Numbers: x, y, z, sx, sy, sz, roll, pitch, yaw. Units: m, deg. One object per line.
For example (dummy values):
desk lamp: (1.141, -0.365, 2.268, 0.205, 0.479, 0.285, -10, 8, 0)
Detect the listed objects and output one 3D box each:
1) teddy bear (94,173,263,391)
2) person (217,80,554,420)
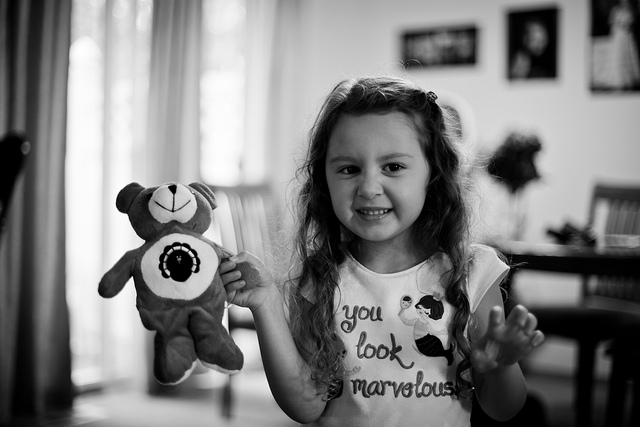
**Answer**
teddy bear: (-0.450, 0.207, 2.011, 0.408, 0.598, 0.199, -1, 3, -17)
person: (0.202, 0.110, 2.123, 0.921, 1.074, 0.402, 1, 3, 10)
